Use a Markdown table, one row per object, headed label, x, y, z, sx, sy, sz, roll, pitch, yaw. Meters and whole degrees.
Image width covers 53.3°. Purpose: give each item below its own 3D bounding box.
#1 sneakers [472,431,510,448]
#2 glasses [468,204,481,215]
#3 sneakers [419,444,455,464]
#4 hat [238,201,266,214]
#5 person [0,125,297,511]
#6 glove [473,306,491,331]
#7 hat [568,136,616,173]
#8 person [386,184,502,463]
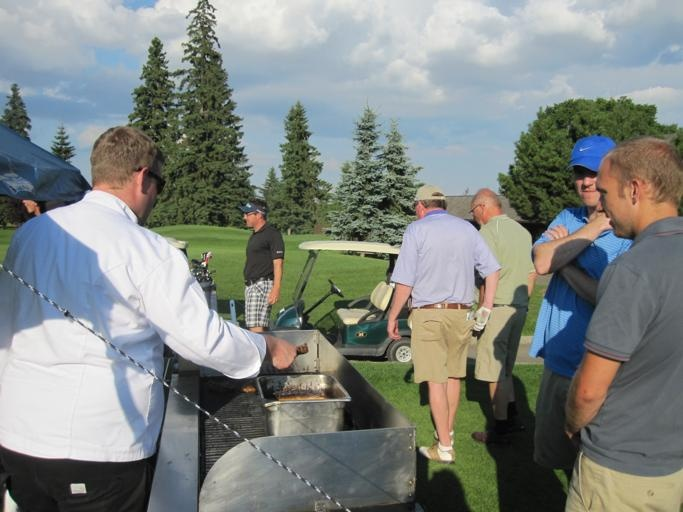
| label | x | y | z | sx | sy | sz | roll | pitch | yaw |
| --- | --- | --- | --- | --- | --- | --- | --- | --- | --- |
| sneakers | 1.215 | 1.483 | 5.557 | 0.286 | 0.119 | 0.115 | 6 | -2 | 19 |
| glasses | 1.198 | -0.414 | 6.109 | 0.095 | 0.030 | 0.099 | 17 | 11 | -17 |
| sneakers | 0.728 | 1.505 | 5.225 | 0.299 | 0.132 | 0.112 | 3 | 8 | 38 |
| hat | -1.010 | -0.550 | 7.894 | 0.225 | 0.074 | 0.155 | 3 | -3 | -39 |
| person | -1.034 | 0.281 | 3.116 | 1.158 | 1.721 | 0.501 | 1 | 9 | -9 |
| glove | 1.139 | 0.510 | 5.534 | 0.108 | 0.216 | 0.161 | 26 | 2 | 21 |
| hat | 1.551 | -0.640 | 4.211 | 0.382 | 0.199 | 0.245 | -9 | 11 | -32 |
| person | 0.743 | 0.483 | 5.472 | 0.737 | 2.054 | 0.832 | 7 | 10 | 30 |
